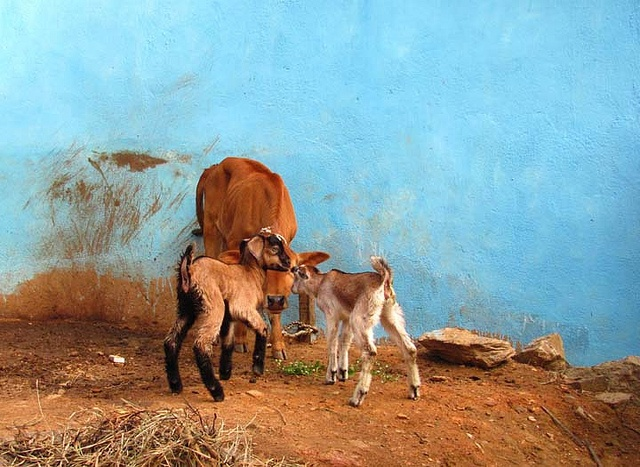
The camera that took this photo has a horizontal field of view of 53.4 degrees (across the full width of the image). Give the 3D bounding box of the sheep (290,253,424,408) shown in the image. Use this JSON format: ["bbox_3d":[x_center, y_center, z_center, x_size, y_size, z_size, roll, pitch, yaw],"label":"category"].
[{"bbox_3d":[0.330,1.250,9.112,0.770,1.897,2.345,2,1,-38],"label":"sheep"}]

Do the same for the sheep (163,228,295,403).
[{"bbox_3d":[-1.178,1.074,8.879,0.768,2.094,2.440,3,4,27],"label":"sheep"}]
